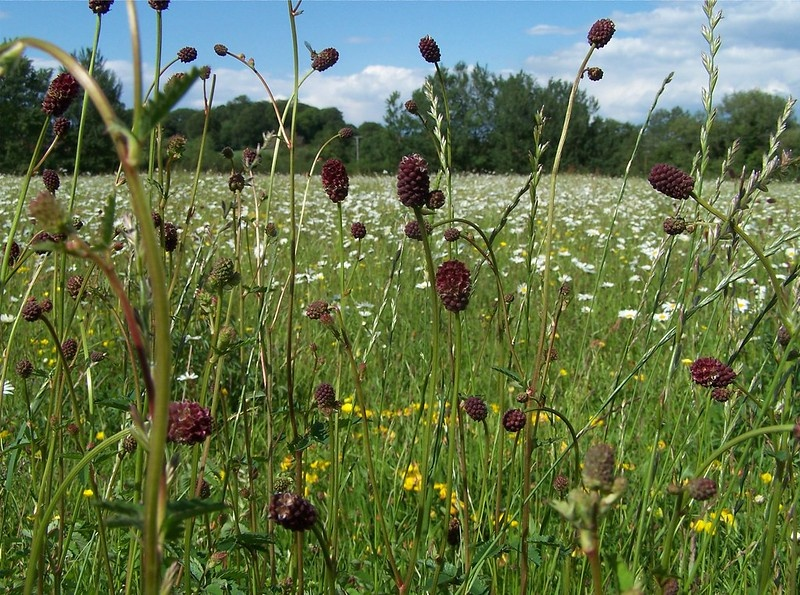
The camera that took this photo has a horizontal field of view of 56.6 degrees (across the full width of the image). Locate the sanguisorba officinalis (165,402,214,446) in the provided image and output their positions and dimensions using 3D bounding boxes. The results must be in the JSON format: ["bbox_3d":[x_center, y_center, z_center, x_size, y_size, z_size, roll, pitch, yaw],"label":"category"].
[{"bbox_3d":[-0.654,0.366,2.334,0.135,0.120,0.139,1,0,-33],"label":"sanguisorba officinalis"}]

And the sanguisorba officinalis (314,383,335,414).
[{"bbox_3d":[-0.259,0.348,2.569,0.053,0.107,0.061,-8,-6,7],"label":"sanguisorba officinalis"}]

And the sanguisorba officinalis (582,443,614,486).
[{"bbox_3d":[0.509,0.430,1.905,0.084,0.113,0.081,4,11,4],"label":"sanguisorba officinalis"}]

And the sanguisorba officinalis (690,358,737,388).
[{"bbox_3d":[1.122,0.255,2.679,0.118,0.111,0.107,0,27,1],"label":"sanguisorba officinalis"}]

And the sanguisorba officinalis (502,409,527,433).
[{"bbox_3d":[0.408,0.441,2.657,0.081,0.091,0.080,-9,-10,15],"label":"sanguisorba officinalis"}]

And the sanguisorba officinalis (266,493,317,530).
[{"bbox_3d":[-0.321,0.627,2.250,0.134,0.099,0.080,13,4,21],"label":"sanguisorba officinalis"}]
